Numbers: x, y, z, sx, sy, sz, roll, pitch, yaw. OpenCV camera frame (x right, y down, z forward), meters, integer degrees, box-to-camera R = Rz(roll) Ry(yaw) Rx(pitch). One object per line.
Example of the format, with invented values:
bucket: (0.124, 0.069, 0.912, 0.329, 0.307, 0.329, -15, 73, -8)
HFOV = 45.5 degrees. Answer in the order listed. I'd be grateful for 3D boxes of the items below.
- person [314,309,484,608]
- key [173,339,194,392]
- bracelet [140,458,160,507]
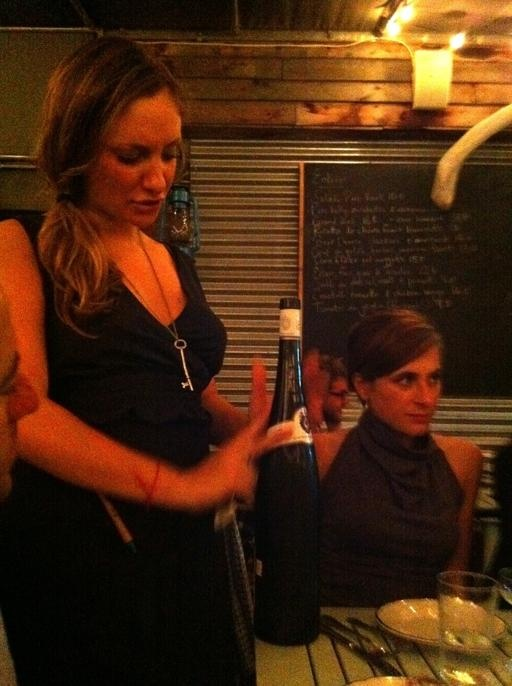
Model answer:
person: (0.368, 0.268, 1.630, 0.402, 0.714, 0.691, 5, 2, 25)
key: (-0.102, 0.031, 0.868, 0.028, 0.070, 0.012, -12, -8, -27)
bracelet: (-0.105, 0.138, 0.602, 0.014, 0.040, 0.010, 1, -13, 7)
